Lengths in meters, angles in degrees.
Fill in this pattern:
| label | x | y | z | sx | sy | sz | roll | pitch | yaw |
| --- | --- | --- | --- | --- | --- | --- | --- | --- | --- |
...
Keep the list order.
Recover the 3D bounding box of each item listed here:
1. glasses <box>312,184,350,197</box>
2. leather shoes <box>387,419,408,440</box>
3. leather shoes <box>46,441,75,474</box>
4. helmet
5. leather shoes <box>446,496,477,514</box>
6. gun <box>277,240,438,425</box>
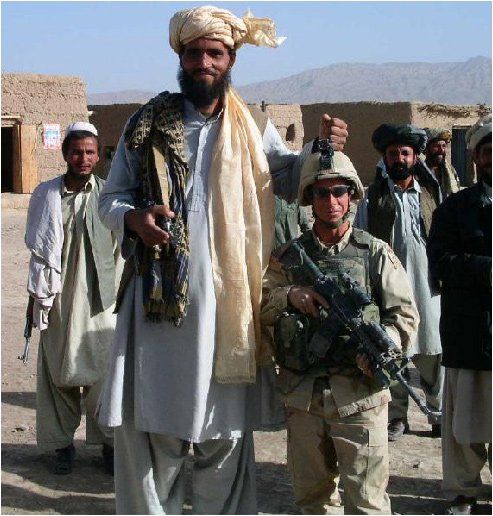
| label | x | y | z | sx | sy | sz | roll | pitch | yaw |
| --- | --- | --- | --- | --- | --- | --- | --- | --- | --- |
| glasses | 0.375 | -0.299 | 3.457 | 0.145 | 0.057 | 0.050 | 1 | 8 | 2 |
| leather shoes | 1.032 | 1.167 | 5.188 | 0.083 | 0.117 | 0.241 | -3 | -6 | 29 |
| leather shoes | -1.121 | 1.201 | 4.670 | 0.135 | 0.150 | 0.361 | -1 | 9 | -14 |
| helmet | 0.390 | -0.372 | 3.590 | 0.315 | 0.283 | 0.344 | -3 | 7 | -11 |
| leather shoes | 1.136 | 1.308 | 4.027 | 0.088 | 0.054 | 0.123 | -1 | -4 | -15 |
| gun | 0.331 | 0.284 | 3.334 | 1.000 | 0.455 | 0.181 | 20 | 21 | -6 |
